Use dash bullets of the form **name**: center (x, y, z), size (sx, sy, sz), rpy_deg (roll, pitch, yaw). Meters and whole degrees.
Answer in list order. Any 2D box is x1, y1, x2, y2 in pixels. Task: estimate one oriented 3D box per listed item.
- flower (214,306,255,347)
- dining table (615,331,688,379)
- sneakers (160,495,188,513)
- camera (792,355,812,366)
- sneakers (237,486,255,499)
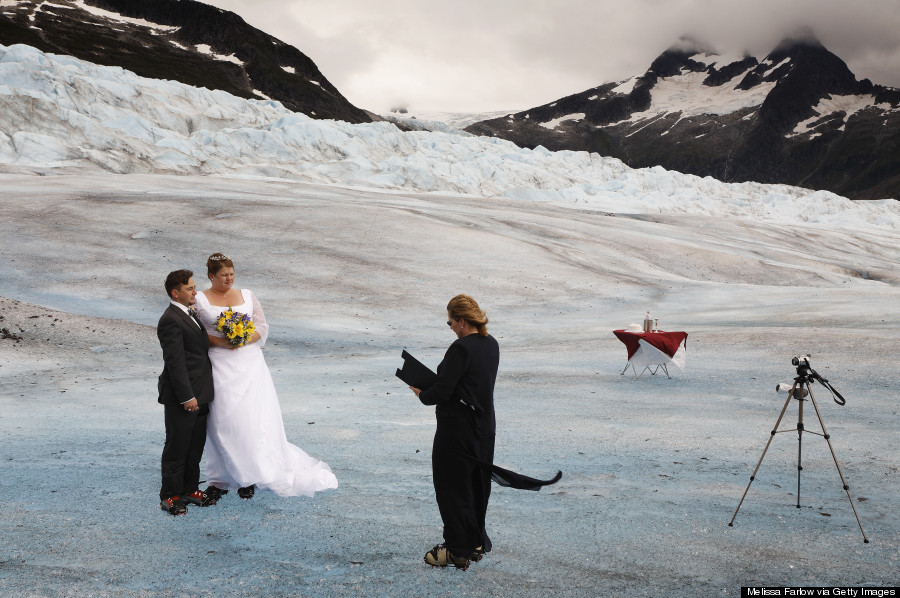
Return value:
- **flower**: center (-4.527, 0.562, 19.148), size (0.908, 0.441, 0.740), rpy_deg (-19, 25, -39)
- **dining table**: center (6.296, 1.605, 27.321), size (2.076, 1.269, 1.624), rpy_deg (2, -4, -31)
- **sneakers**: center (-5.744, 4.270, 18.653), size (0.544, 0.216, 0.283), rpy_deg (8, 2, 34)
- **camera**: center (7.122, 1.272, 18.234), size (0.283, 0.110, 0.270), rpy_deg (3, -4, -37)
- **sneakers**: center (-4.332, 4.107, 19.067), size (0.305, 0.192, 0.288), rpy_deg (-3, -17, 4)
